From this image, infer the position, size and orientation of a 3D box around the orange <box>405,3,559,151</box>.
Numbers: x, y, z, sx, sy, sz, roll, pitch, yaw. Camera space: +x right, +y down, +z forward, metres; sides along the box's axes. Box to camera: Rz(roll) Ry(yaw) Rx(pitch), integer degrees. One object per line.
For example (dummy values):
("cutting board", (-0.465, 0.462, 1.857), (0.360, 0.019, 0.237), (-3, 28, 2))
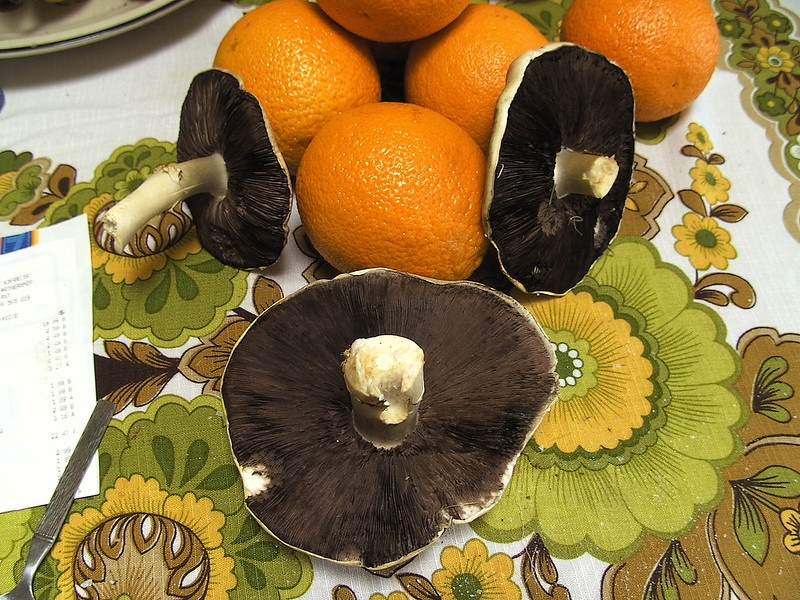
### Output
("orange", (0.081, -0.277, 1.024), (0.177, 0.169, 0.168), (-32, 58, -31))

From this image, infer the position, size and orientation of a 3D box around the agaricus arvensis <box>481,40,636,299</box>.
("agaricus arvensis", (0.179, -0.155, 0.895), (0.250, 0.253, 0.071), (-24, 29, -39))

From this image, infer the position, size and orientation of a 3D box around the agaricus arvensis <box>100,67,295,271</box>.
("agaricus arvensis", (-0.207, -0.126, 0.918), (0.181, 0.169, 0.221), (23, 74, 6))

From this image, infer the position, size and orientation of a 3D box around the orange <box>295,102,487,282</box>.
("orange", (-0.003, -0.137, 0.947), (0.241, 0.202, 0.191), (13, 99, 44))
